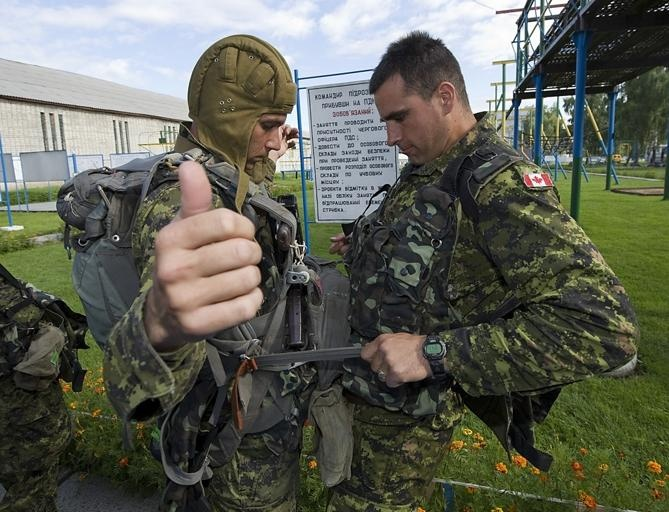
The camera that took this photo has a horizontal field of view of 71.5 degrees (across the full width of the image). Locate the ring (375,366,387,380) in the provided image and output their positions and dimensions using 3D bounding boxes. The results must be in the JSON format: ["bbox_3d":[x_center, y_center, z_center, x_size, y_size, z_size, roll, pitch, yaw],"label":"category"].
[{"bbox_3d":[0.236,0.603,2.401,0.024,0.065,0.045,-7,-10,-8],"label":"ring"}]

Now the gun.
[{"bbox_3d":[-0.263,0.117,2.444,0.134,0.867,0.249,-1,4,-5],"label":"gun"}]
